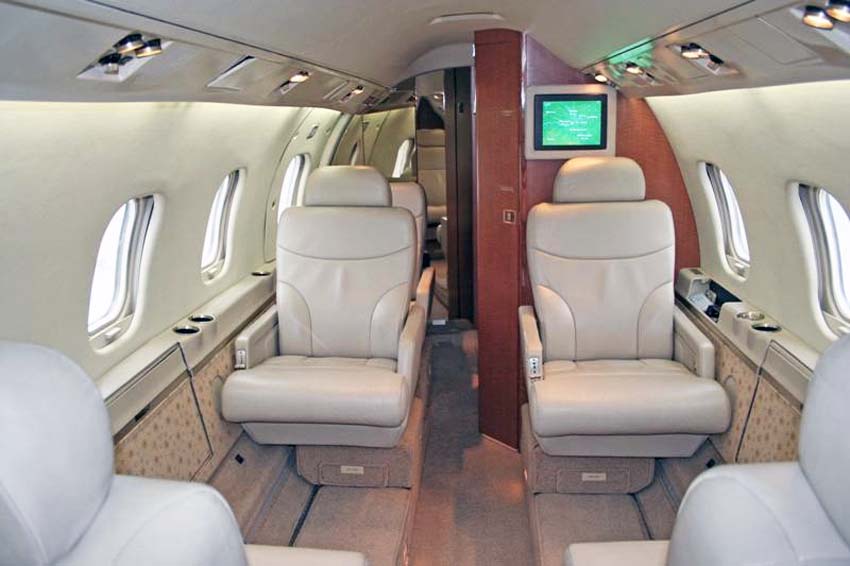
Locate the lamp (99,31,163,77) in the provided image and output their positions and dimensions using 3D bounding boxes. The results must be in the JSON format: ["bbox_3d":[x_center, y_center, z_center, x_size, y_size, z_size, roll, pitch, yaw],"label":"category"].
[{"bbox_3d":[-1.136,-0.886,2.320,0.251,0.147,0.137,-15,28,-18],"label":"lamp"}]

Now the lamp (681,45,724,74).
[{"bbox_3d":[1.272,-1.038,2.774,0.204,0.146,0.127,7,29,24],"label":"lamp"}]
